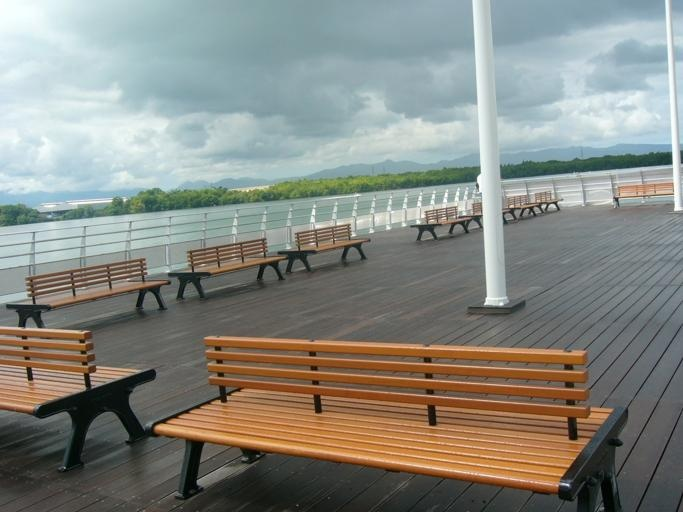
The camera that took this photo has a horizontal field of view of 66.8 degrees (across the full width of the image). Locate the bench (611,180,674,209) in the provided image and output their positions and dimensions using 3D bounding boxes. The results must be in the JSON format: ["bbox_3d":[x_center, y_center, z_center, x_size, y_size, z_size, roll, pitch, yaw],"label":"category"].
[{"bbox_3d":[11.580,-2.281,19.638,1.559,0.834,2.192,-10,9,-16],"label":"bench"}]
